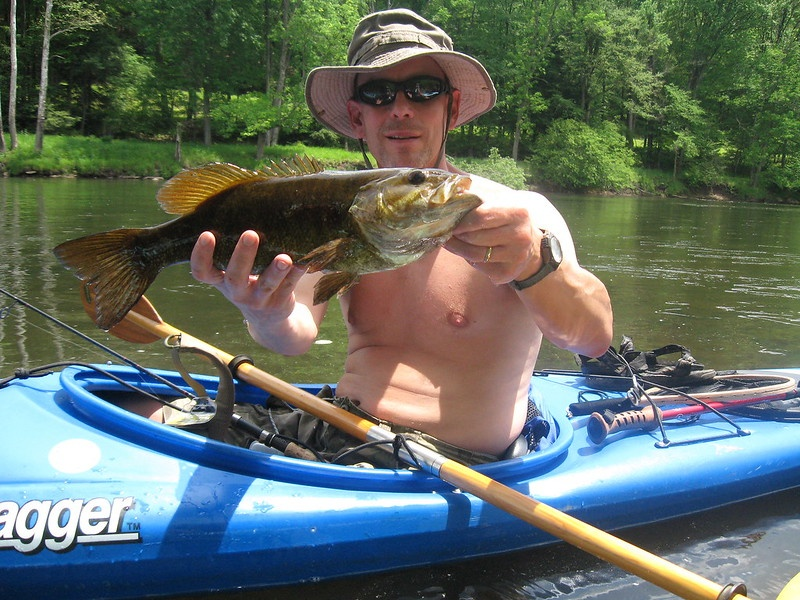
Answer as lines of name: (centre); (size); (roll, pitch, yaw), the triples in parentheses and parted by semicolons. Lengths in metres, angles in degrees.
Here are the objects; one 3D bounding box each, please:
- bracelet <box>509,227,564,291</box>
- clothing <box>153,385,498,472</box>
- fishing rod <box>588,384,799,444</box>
bracelet: (0.876, -0.237, 5.584); (0.147, 0.379, 0.349); (45, 29, -28)
clothing: (-0.431, 0.894, 5.982); (1.807, 0.210, 0.365); (8, 18, 19)
fishing rod: (2.331, 0.910, 6.889); (1.562, 0.237, 0.198); (-6, 54, -19)
